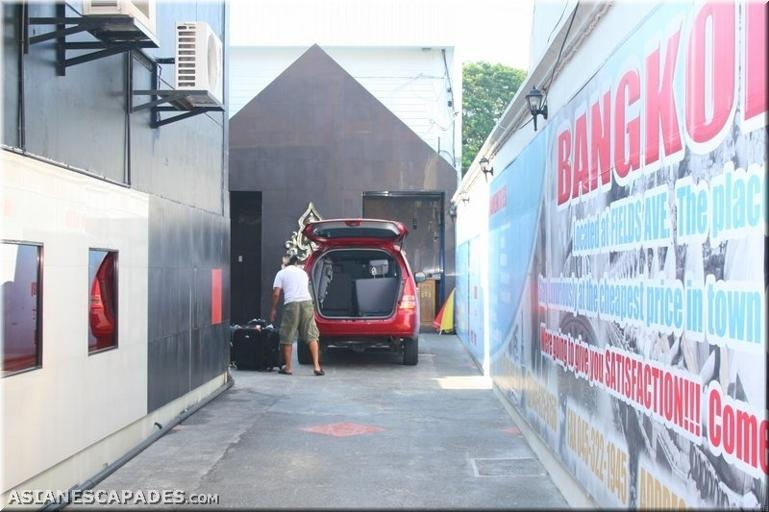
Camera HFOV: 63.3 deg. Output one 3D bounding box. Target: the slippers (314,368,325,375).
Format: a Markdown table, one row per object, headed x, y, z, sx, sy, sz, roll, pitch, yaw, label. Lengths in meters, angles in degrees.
| x | y | z | sx | sy | sz | roll | pitch | yaw | label |
| --- | --- | --- | --- | --- | --- | --- | --- | --- | --- |
| -1.068 | 1.946 | 10.501 | 0.070 | 0.089 | 0.205 | 0 | 2 | 8 | slippers |

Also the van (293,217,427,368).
| x | y | z | sx | sy | sz | roll | pitch | yaw | label |
| --- | --- | --- | --- | --- | --- | --- | --- | --- | --- |
| -0.386 | 0.545 | 12.012 | 1.862 | 1.984 | 3.024 | 0 | 2 | 2 | van |

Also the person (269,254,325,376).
| x | y | z | sx | sy | sz | roll | pitch | yaw | label |
| --- | --- | --- | --- | --- | --- | --- | --- | --- | --- |
| -1.525 | 0.967 | 10.885 | 0.645 | 2.129 | 0.981 | 0 | -1 | 2 | person |

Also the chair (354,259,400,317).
| x | y | z | sx | sy | sz | roll | pitch | yaw | label |
| --- | --- | --- | --- | --- | --- | --- | --- | --- | --- |
| -0.109 | 0.670 | 12.530 | 1.019 | 1.650 | 0.967 | 1 | 2 | 8 | chair |

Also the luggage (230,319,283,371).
| x | y | z | sx | sy | sz | roll | pitch | yaw | label |
| --- | --- | --- | --- | --- | --- | --- | --- | --- | --- |
| -2.261 | 1.547 | 11.162 | 0.725 | 0.930 | 0.714 | 0 | -2 | 3 | luggage |

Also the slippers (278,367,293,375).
| x | y | z | sx | sy | sz | roll | pitch | yaw | label |
| --- | --- | --- | --- | --- | --- | --- | --- | --- | --- |
| -1.661 | 1.950 | 10.581 | 0.094 | 0.107 | 0.237 | 3 | 1 | -41 | slippers |

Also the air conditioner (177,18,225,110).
| x | y | z | sx | sy | sz | roll | pitch | yaw | label |
| --- | --- | --- | --- | --- | --- | --- | --- | --- | --- |
| -2.046 | -2.159 | 6.928 | 0.404 | 0.896 | 0.685 | 0 | 0 | -3 | air conditioner |

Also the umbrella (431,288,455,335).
| x | y | z | sx | sy | sz | roll | pitch | yaw | label |
| --- | --- | --- | --- | --- | --- | --- | --- | --- | --- |
| 1.666 | 1.528 | 17.240 | 0.521 | 1.240 | 0.558 | 0 | 0 | -14 | umbrella |
